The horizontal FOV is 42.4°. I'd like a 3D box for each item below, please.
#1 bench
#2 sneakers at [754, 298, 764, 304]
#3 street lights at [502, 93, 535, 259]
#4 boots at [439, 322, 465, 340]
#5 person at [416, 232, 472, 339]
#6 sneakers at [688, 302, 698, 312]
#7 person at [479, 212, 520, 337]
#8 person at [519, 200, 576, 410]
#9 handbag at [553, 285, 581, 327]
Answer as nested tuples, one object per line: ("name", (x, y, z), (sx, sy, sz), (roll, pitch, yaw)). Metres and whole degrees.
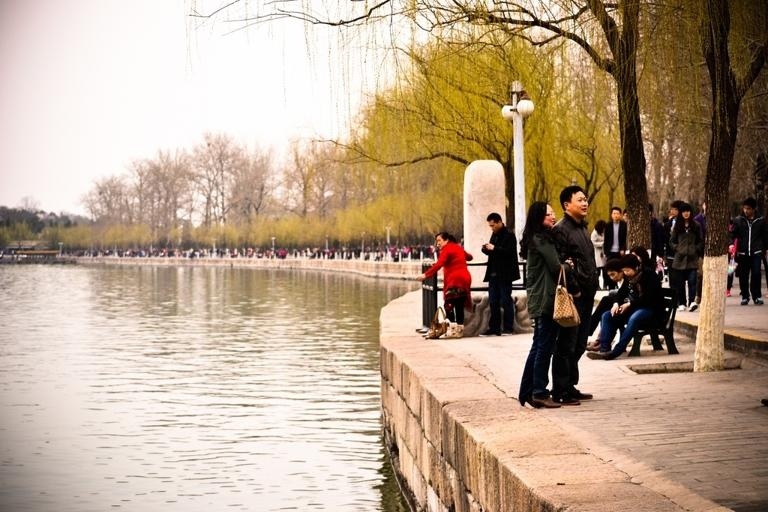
("bench", (4.180, 0.960, 14.931), (0.865, 1.311, 0.882), (-1, -1, -9))
("sneakers", (7.377, 0.876, 19.474), (0.090, 0.131, 0.267), (-2, -3, 0))
("street lights", (2.744, -1.512, 20.140), (0.576, 3.834, 0.788), (4, -6, -44))
("boots", (1.134, 1.247, 16.709), (0.164, 0.238, 0.502), (-1, 5, -31))
("person", (1.069, 0.481, 16.706), (0.800, 1.776, 0.868), (-2, 3, 3))
("sneakers", (5.863, 0.958, 18.819), (0.093, 0.126, 0.274), (-1, -9, -8))
("person", (1.948, 0.302, 16.676), (0.609, 2.088, 1.010), (-2, 3, 6))
("person", (1.878, 0.582, 11.820), (0.596, 2.459, 0.697), (-2, 3, 11))
("handbag", (2.126, 0.575, 11.709), (0.292, 0.547, 0.288), (-3, 3, 2))
